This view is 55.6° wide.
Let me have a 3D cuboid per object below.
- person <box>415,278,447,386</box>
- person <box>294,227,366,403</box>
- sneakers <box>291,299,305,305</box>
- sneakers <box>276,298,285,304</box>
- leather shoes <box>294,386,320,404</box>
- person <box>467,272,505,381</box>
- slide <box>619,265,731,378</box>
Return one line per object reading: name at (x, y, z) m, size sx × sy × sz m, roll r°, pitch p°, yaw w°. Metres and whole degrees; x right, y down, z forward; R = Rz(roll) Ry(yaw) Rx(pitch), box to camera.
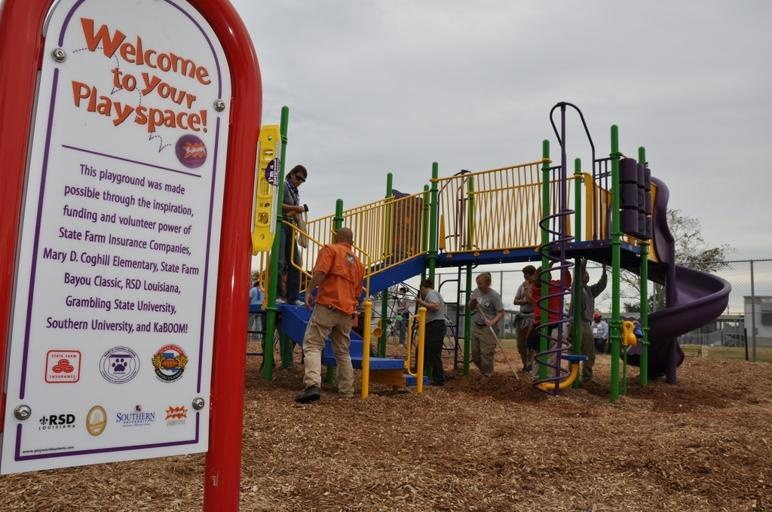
person at (0.614, 1.060, 10.130) m, size 0.381 × 1.464 × 1.112 m, roll 1°, pitch 4°, yaw 3°
person at (-0.620, 0.604, 7.762) m, size 0.449 × 1.814 × 1.026 m, roll 3°, pitch 4°, yaw 25°
sneakers at (-1.105, 0.579, 9.373) m, size 0.122 × 0.057 × 0.068 m, roll -4°, pitch -5°, yaw 30°
sneakers at (-1.378, 0.573, 9.573) m, size 0.067 × 0.056 × 0.156 m, roll 17°, pitch -14°, yaw -37°
leather shoes at (-0.763, 1.399, 7.413) m, size 0.144 × 0.186 × 0.336 m, roll 5°, pitch 5°, yaw 44°
person at (1.476, 1.020, 10.935) m, size 0.488 × 1.674 × 1.342 m, roll 2°, pitch 4°, yaw 8°
slide at (4.808, 1.131, 11.619) m, size 1.062 × 1.646 × 1.743 m, roll 3°, pitch 4°, yaw 29°
